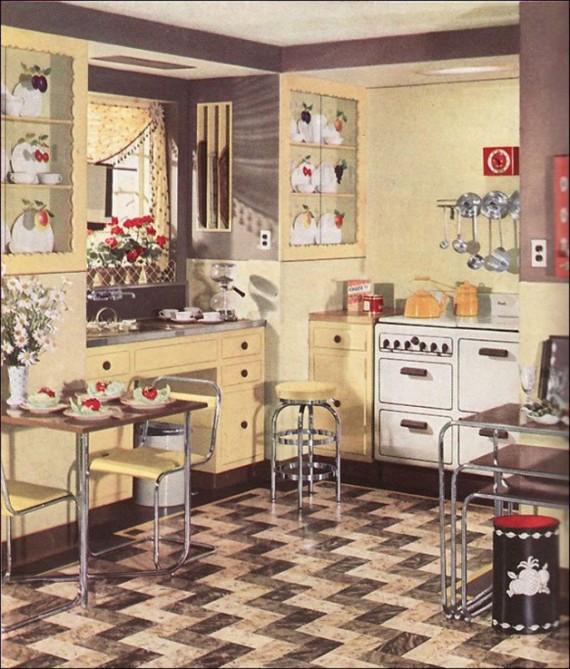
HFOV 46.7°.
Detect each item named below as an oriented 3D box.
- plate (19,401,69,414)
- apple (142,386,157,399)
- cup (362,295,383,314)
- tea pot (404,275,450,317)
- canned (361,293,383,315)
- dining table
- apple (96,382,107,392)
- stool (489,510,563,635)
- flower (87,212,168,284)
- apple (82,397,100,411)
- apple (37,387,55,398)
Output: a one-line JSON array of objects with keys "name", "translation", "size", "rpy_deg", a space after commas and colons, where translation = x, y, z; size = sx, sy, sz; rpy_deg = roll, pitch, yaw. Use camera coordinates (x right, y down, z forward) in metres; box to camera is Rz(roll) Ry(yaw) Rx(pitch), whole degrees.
[{"name": "plate", "translation": [-0.972, 0.297, 2.651], "size": [0.175, 0.039, 0.151], "rpy_deg": [0, 0, -13]}, {"name": "apple", "translation": [-0.565, 0.246, 2.771], "size": [0.052, 0.048, 0.051], "rpy_deg": [26, 34, 34]}, {"name": "cup", "translation": [0.635, -0.211, 4.625], "size": [0.141, 0.128, 0.140], "rpy_deg": [1, 9, 0]}, {"name": "tea pot", "translation": [0.959, -0.244, 4.463], "size": [0.414, 0.318, 0.250], "rpy_deg": [1, 1, 3]}, {"name": "canned", "translation": [0.642, -0.218, 4.632], "size": [0.153, 0.146, 0.145], "rpy_deg": [-2, 7, -19]}, {"name": "dining table", "translation": [-0.797, 0.640, 2.995], "size": [0.849, 0.724, 0.852], "rpy_deg": [8, 13, 43]}, {"name": "apple", "translation": [-0.775, 0.222, 2.797], "size": [0.044, 0.029, 0.040], "rpy_deg": [2, -2, 3]}, {"name": "stool", "translation": [0.822, 0.832, 2.260], "size": [0.216, 0.339, 0.185], "rpy_deg": [0, 0, 18]}, {"name": "flower", "translation": [-1.069, -0.541, 4.438], "size": [0.514, 0.371, 0.551], "rpy_deg": [-1, 8, 2]}, {"name": "apple", "translation": [-0.745, 0.270, 2.540], "size": [0.063, 0.050, 0.061], "rpy_deg": [0, 0, -16]}, {"name": "apple", "translation": [-0.973, 0.229, 2.696], "size": [0.056, 0.021, 0.049], "rpy_deg": [-1, 13, -15]}]
